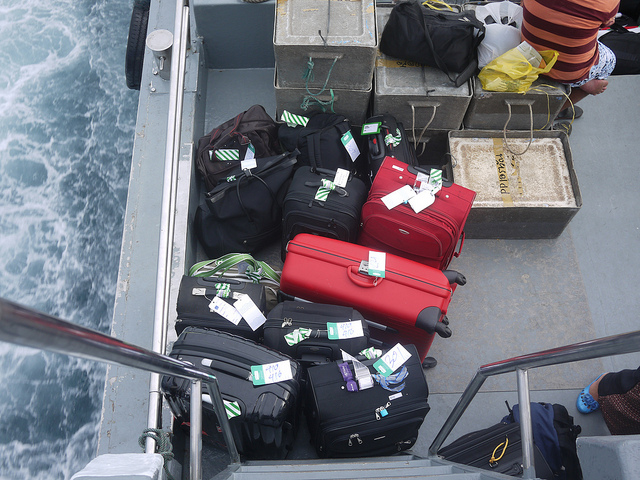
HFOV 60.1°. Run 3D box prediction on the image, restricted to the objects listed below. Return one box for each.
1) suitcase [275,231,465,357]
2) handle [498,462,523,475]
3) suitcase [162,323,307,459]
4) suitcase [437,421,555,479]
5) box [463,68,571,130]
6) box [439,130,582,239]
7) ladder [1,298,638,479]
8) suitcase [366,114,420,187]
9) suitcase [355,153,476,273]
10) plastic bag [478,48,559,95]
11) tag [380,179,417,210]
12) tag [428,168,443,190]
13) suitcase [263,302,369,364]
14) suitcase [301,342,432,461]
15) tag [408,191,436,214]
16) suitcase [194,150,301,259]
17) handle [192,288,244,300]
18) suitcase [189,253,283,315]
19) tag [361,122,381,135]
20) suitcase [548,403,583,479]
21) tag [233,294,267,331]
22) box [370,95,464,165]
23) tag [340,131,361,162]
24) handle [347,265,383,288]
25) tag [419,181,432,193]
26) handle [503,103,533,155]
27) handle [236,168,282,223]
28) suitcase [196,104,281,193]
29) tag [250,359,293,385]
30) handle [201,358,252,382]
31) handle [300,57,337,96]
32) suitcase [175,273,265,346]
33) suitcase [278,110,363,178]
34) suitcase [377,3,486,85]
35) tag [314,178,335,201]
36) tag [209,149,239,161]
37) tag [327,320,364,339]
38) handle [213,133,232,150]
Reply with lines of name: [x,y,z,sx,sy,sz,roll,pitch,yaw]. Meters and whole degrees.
suitcase: [0.279,0.318,3.389,0.675,0.692,0.280,17,53,10]
handle: [1.041,1.242,3.005,0.085,0.086,0.057,-20,63,5]
suitcase: [-0.545,0.931,3.317,0.694,0.743,0.474,16,51,5]
suitcase: [1.032,1.325,3.341,0.609,0.640,0.330,-22,56,9]
box: [1.412,-0.944,4.016,0.652,0.473,0.430,6,58,-2]
box: [1.426,-0.451,4.182,1.053,0.602,0.783,-1,69,4]
ladder: [0.056,0.781,2.451,2.080,1.890,0.491,0,56,-3]
suitcase: [0.429,-0.695,4.096,0.484,0.275,0.492,0,101,34]
suitcase: [0.616,-0.170,3.636,0.535,0.717,0.409,24,63,3]
plastic bag: [1.402,-1.204,3.916,0.564,0.240,0.390,3,39,9]
tag: [0.507,-0.286,3.550,0.189,0.015,0.088,-26,64,-5]
tag: [0.739,-0.397,3.610,0.116,0.194,0.112,0,54,9]
suitcase: [-0.023,0.521,3.250,0.554,0.571,0.336,-1,87,0]
suitcase: [0.263,1.051,3.364,0.695,0.790,0.471,-13,52,-10]
tag: [0.649,-0.254,3.538,0.153,0.048,0.097,-27,63,-19]
suitcase: [-0.494,-0.263,3.843,0.633,0.593,0.352,-24,73,-19]
handle: [-0.676,0.349,3.454,0.329,0.019,0.057,4,77,5]
suitcase: [-0.481,0.265,3.680,0.724,0.652,0.344,7,73,-1]
tag: [0.362,-0.793,3.926,0.114,0.030,0.084,0,75,13]
suitcase: [1.375,1.138,3.117,0.177,0.351,0.266,-7,96,10]
tag: [-0.431,0.436,3.322,0.116,0.021,0.214,-34,84,-18]
box: [0.701,-0.759,4.372,0.757,0.750,0.435,4,65,5]
tag: [0.214,-0.670,3.957,0.139,0.150,0.104,36,62,19]
handle: [0.262,0.214,3.360,0.165,0.122,0.044,26,88,-29]
tag: [0.678,-0.343,3.564,0.064,0.032,0.095,-2,100,4]
handle: [1.449,-0.790,3.968,0.188,0.055,0.362,6,102,20]
handle: [-0.416,-0.322,3.872,0.246,0.066,0.379,-33,96,7]
suitcase: [-0.564,-0.628,4.114,0.638,0.664,0.475,-28,88,6]
tag: [-0.261,0.723,3.024,0.182,0.188,0.112,-7,84,1]
handle: [-0.504,0.695,2.955,0.311,0.078,0.061,18,37,6]
handle: [-0.047,-1.130,3.803,0.206,0.329,0.172,-10,58,-21]
suitcase: [-0.570,0.502,3.601,0.565,0.556,0.367,3,59,3]
suitcase: [-0.012,-0.675,4.123,0.559,0.608,0.439,-10,67,16]
suitcase: [0.776,-1.301,3.996,0.609,0.233,0.645,5,52,-7]
tag: [0.029,-0.326,3.644,0.100,0.052,0.143,11,91,11]
tag: [-0.676,-0.608,3.936,0.195,0.016,0.079,1,88,7]
tag: [0.140,0.521,3.223,0.187,0.009,0.093,-1,78,4]
handle: [-0.688,-0.702,4.000,0.144,0.036,0.084,-40,47,4]
